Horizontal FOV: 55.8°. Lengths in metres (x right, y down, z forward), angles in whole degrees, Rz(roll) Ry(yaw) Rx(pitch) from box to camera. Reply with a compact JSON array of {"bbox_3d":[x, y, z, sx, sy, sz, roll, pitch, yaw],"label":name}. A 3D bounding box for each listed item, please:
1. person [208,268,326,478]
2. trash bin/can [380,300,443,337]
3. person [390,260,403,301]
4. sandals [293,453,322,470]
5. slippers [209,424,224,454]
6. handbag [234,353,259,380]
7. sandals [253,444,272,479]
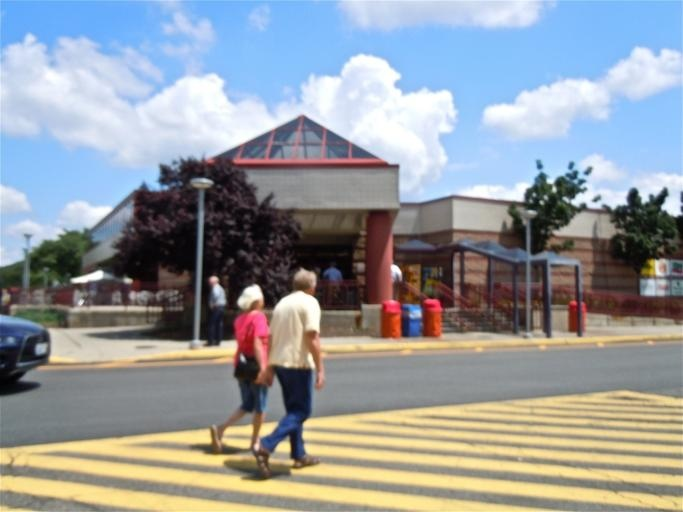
[{"bbox_3d":[-0.605,1.372,7.780,0.778,2.443,0.517,1,-6,-3],"label":"person"},{"bbox_3d":[2.233,2.037,20.962,2.015,1.231,0.683,4,-7,-25],"label":"trash bin/can"},{"bbox_3d":[2.029,0.972,23.312,0.307,1.235,0.677,-3,-7,30],"label":"person"},{"bbox_3d":[-0.430,2.503,7.913,0.364,0.149,0.135,0,-3,-27],"label":"sandals"},{"bbox_3d":[-1.594,2.344,8.240,0.133,0.376,0.139,-7,-14,-8],"label":"slippers"},{"bbox_3d":[-1.169,1.364,7.993,0.295,0.322,0.138,-2,-9,10],"label":"handbag"},{"bbox_3d":[-0.944,2.394,7.556,0.151,0.463,0.180,-16,-6,26],"label":"sandals"}]
